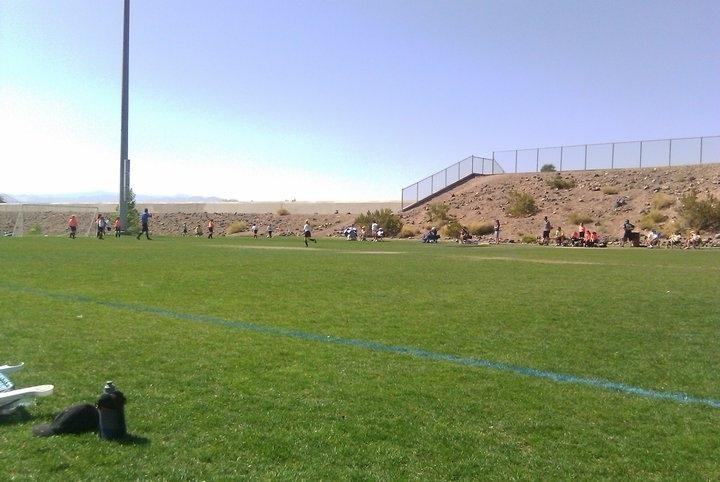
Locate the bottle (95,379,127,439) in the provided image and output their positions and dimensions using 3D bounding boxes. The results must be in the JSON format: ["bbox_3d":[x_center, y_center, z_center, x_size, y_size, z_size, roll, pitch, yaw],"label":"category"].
[{"bbox_3d":[-3.091,2.084,7.314,0.372,0.705,0.319,0,7,-13],"label":"bottle"}]

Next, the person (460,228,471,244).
[{"bbox_3d":[7.491,-0.400,42.184,0.946,1.130,0.492,-2,-1,-16],"label":"person"}]

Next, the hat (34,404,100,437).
[{"bbox_3d":[-3.663,2.229,7.336,0.749,0.324,0.275,-1,7,-22],"label":"hat"}]
